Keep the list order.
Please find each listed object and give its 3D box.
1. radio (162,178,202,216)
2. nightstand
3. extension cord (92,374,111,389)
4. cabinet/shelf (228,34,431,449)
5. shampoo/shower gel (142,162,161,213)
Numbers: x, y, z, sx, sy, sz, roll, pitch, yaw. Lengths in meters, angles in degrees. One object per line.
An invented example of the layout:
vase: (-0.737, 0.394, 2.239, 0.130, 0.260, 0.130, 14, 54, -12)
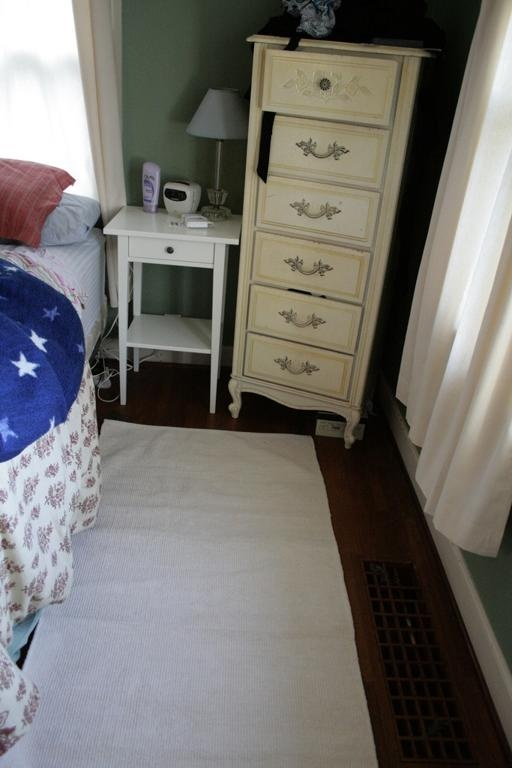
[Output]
radio: (-0.309, -0.764, 2.180, 0.142, 0.146, 0.156, 9, 42, 7)
nightstand: (-0.381, -0.371, 2.290, 0.501, 0.853, 0.446, 3, 35, -9)
extension cord: (-0.696, -0.018, 2.345, 0.062, 0.025, 0.074, 0, 38, -6)
cabinet/shelf: (0.222, -0.538, 1.988, 0.466, 1.369, 0.447, 12, 32, 13)
shampoo/shower gel: (-0.436, -0.816, 2.142, 0.057, 0.197, 0.066, -6, 35, -23)
